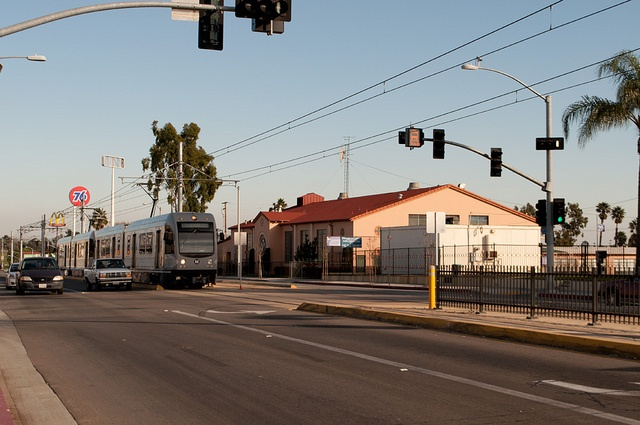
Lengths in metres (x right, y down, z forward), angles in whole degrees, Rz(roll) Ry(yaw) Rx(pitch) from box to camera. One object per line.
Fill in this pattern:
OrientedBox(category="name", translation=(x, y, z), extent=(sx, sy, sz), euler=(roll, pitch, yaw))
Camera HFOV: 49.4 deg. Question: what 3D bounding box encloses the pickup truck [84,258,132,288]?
OrientedBox(category="pickup truck", translation=(-12.601, 3.635, 41.244), extent=(2.517, 1.878, 5.123), euler=(-1, -2, -17))
